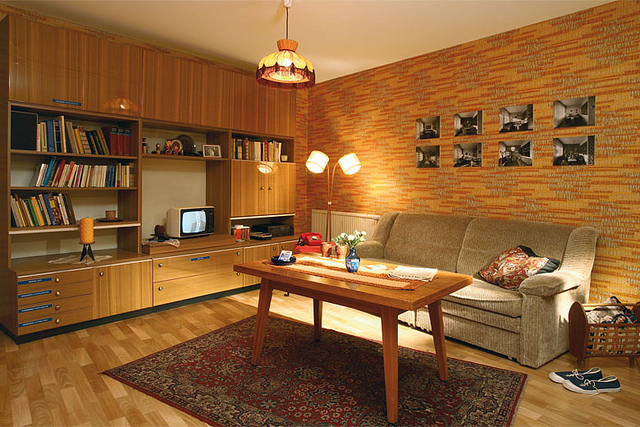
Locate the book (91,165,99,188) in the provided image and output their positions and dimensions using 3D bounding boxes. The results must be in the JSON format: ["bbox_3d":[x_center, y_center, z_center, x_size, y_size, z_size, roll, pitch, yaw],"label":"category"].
[{"bbox_3d":[-2.683,-0.442,5.088,0.057,0.192,0.207,6,9,-11],"label":"book"}]

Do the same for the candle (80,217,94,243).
[{"bbox_3d":[-2.675,0.193,4.891,0.136,0.276,0.196,-5,9,-23],"label":"candle"}]

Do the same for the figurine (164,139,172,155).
[{"bbox_3d":[-2.035,-0.898,5.721,0.109,0.219,0.355,-4,7,-19],"label":"figurine"}]

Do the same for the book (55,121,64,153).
[{"bbox_3d":[-2.969,-0.871,4.843,0.070,0.340,0.039,-5,10,-22],"label":"book"}]

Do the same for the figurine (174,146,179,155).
[{"bbox_3d":[-1.931,-0.853,5.720,0.052,0.104,0.087,0,8,4],"label":"figurine"}]

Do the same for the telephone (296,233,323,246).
[{"bbox_3d":[-0.135,0.343,5.644,0.193,0.092,0.239,2,-4,-43],"label":"telephone"}]

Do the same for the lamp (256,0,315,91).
[{"bbox_3d":[-0.337,-1.435,4.075,0.506,0.431,0.416,-4,8,-26],"label":"lamp"}]

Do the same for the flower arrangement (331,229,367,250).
[{"bbox_3d":[0.305,0.269,4.423,0.339,0.181,0.338,-3,-2,41],"label":"flower arrangement"}]

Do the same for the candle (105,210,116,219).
[{"bbox_3d":[-2.548,0.012,5.241,0.118,0.082,0.110,1,0,10],"label":"candle"}]

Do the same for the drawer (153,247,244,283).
[{"bbox_3d":[-1.934,0.695,5.880,0.926,0.280,1.585,-5,-2,30],"label":"drawer"}]

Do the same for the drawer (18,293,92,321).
[{"bbox_3d":[-2.923,1.019,4.645,0.442,0.081,0.394,0,0,-41],"label":"drawer"}]

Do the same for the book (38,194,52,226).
[{"bbox_3d":[-3.106,-0.040,4.827,0.093,0.340,0.028,-2,9,-9],"label":"book"}]

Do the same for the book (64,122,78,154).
[{"bbox_3d":[-2.874,-0.878,4.919,0.124,0.345,0.029,0,9,8],"label":"book"}]

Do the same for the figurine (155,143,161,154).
[{"bbox_3d":[-2.139,-0.862,5.635,0.071,0.155,0.328,-4,7,-20],"label":"figurine"}]

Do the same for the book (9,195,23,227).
[{"bbox_3d":[-3.313,-0.020,4.658,0.082,0.337,0.075,-6,10,-28],"label":"book"}]

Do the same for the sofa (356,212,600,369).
[{"bbox_3d":[1.641,0.737,5.417,1.396,1.174,2.985,-14,11,-34],"label":"sofa"}]

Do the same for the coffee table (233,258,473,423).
[{"bbox_3d":[0.427,0.702,4.152,2.560,1.068,1.394,2,1,40],"label":"coffee table"}]

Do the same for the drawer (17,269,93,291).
[{"bbox_3d":[-2.887,0.721,4.660,0.689,0.144,0.028,-5,9,-35],"label":"drawer"}]

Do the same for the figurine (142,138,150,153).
[{"bbox_3d":[-2.252,-0.864,5.477,0.049,0.171,0.182,2,32,-18],"label":"figurine"}]

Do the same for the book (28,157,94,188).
[{"bbox_3d":[-2.944,-0.445,4.896,0.546,0.213,0.411,0,-2,36],"label":"book"}]

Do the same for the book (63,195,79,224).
[{"bbox_3d":[-2.922,-0.050,5.009,0.074,0.264,0.299,-19,19,-29],"label":"book"}]
